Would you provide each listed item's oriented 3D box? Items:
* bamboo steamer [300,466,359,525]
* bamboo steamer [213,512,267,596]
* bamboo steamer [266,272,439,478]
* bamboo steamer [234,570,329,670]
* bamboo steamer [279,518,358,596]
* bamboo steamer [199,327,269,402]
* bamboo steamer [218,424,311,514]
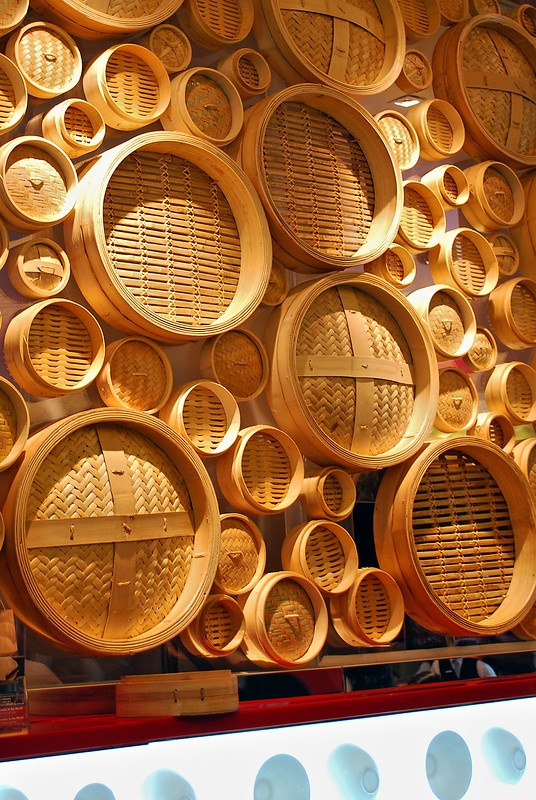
[{"bbox_3d":[0.185,0.282,2.174,0.161,0.166,0.082,-3,-7,-41],"label":"bamboo steamer"},{"bbox_3d":[-0.078,0.407,1.945,0.069,0.206,0.182,-3,-6,36],"label":"bamboo steamer"},{"bbox_3d":[0.245,-0.063,2.251,0.593,0.676,0.165,-5,-9,-38],"label":"bamboo steamer"},{"bbox_3d":[0.048,0.591,1.978,0.224,0.242,0.233,5,-21,-32],"label":"bamboo steamer"},{"bbox_3d":[0.158,0.459,2.097,0.200,0.227,0.080,9,-24,-32],"label":"bamboo steamer"},{"bbox_3d":[-0.063,-0.093,2.106,0.172,0.172,0.032,-41,2,-44],"label":"bamboo steamer"},{"bbox_3d":[-0.023,0.195,2.018,0.239,0.236,0.180,-13,12,1],"label":"bamboo steamer"}]
